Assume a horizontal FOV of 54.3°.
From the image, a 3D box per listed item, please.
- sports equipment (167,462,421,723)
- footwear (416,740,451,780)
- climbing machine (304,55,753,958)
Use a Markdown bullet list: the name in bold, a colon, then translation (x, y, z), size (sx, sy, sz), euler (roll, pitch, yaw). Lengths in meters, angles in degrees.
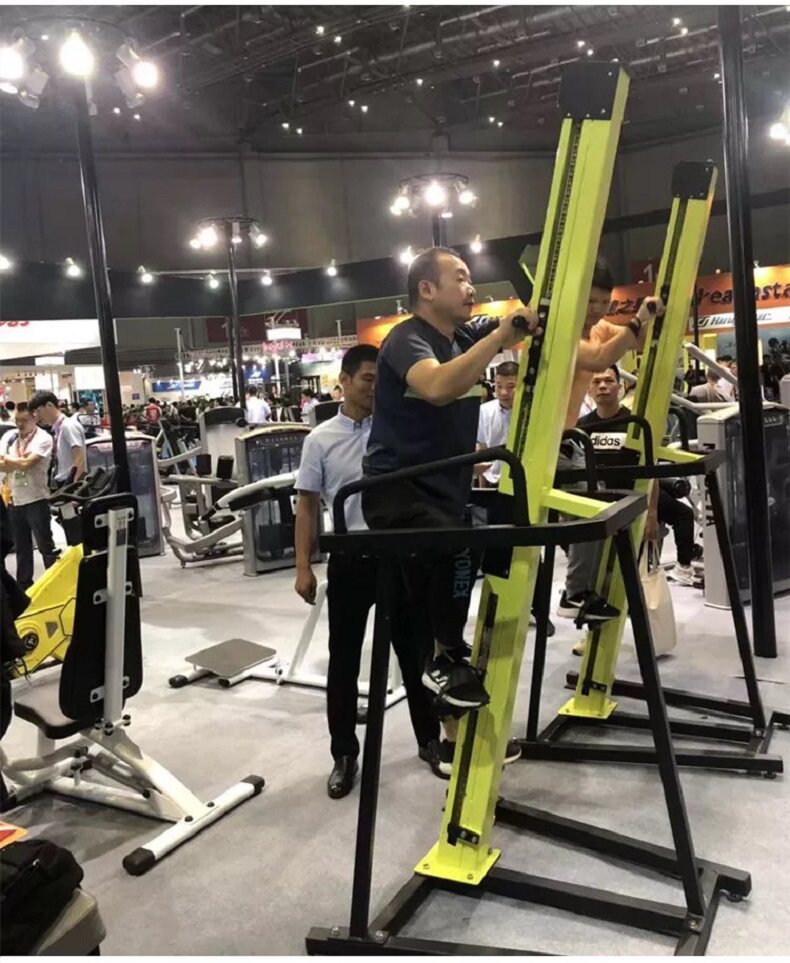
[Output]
- **sports equipment**: translation (-0.661, 0.464, 4.469), size (1.724, 1.484, 1.065), euler (4, 6, 14)
- **footwear**: translation (0.153, 0.985, 2.769), size (0.071, 0.073, 0.183), euler (1, -8, -26)
- **climbing machine**: translation (0.450, 0.064, 2.013), size (0.855, 2.037, 1.406), euler (2, 9, 39)
